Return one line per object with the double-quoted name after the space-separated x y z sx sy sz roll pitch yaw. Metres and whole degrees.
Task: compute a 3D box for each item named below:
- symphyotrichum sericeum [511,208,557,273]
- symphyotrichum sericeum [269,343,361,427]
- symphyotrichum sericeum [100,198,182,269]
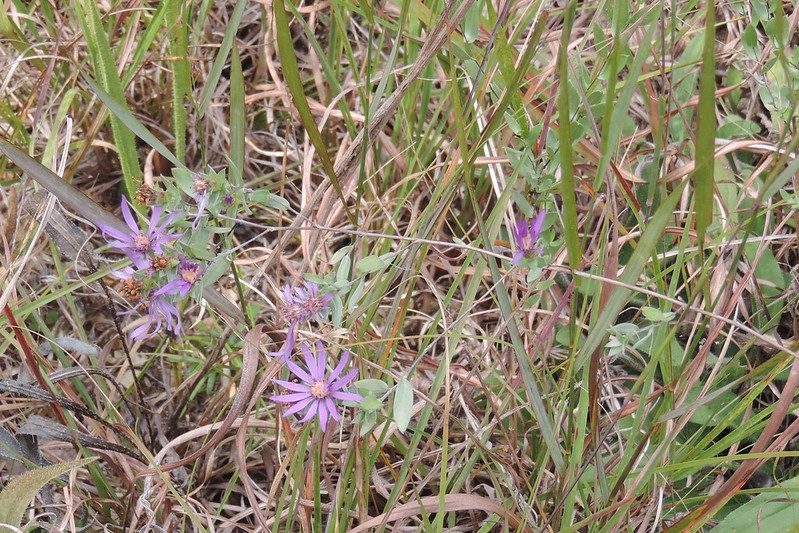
0.245 -0.045 1.425 0.066 0.108 0.117 6 50 7 "symphyotrichum sericeum"
-0.148 0.222 1.384 0.155 0.056 0.165 -22 49 -2 "symphyotrichum sericeum"
-0.484 -0.052 1.497 0.142 0.064 0.148 -24 83 -3 "symphyotrichum sericeum"
